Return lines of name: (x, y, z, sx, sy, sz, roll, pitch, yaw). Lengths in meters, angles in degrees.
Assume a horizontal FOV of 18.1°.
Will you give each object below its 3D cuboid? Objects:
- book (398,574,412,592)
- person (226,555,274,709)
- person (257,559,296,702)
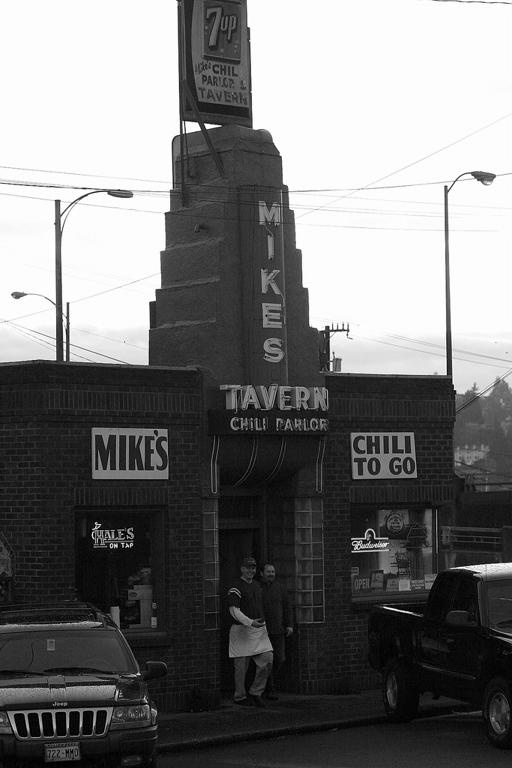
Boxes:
book: (2.102, 2.812, 22.661, 0.227, 0.329, 0.157, 1, -1, -12)
person: (-0.079, 3.185, 20.446, 0.601, 1.825, 0.577, 6, 5, 11)
person: (0.233, 3.196, 21.101, 0.445, 1.782, 0.500, -4, 23, -2)
